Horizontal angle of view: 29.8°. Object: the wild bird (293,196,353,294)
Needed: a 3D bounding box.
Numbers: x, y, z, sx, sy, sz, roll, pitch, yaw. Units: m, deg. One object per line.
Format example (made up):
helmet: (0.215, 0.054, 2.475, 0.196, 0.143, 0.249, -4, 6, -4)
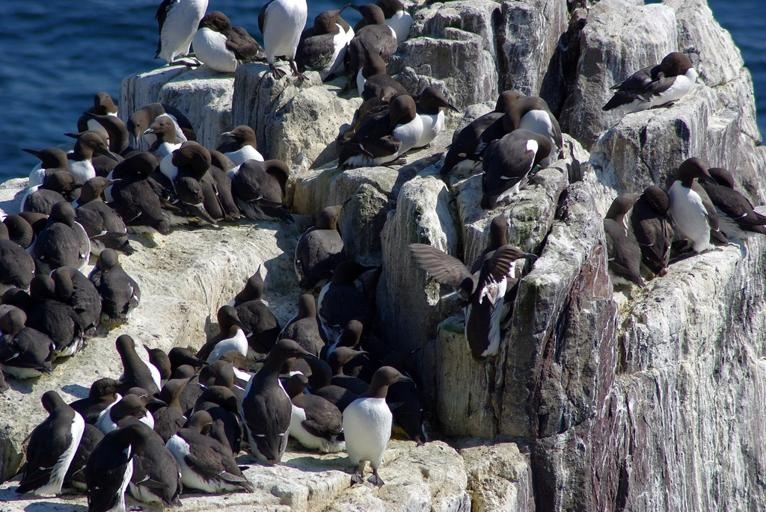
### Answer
wild bird: (-1.053, -0.220, 26.116, 0.755, 1.581, 1.175, 16, -8, 34)
